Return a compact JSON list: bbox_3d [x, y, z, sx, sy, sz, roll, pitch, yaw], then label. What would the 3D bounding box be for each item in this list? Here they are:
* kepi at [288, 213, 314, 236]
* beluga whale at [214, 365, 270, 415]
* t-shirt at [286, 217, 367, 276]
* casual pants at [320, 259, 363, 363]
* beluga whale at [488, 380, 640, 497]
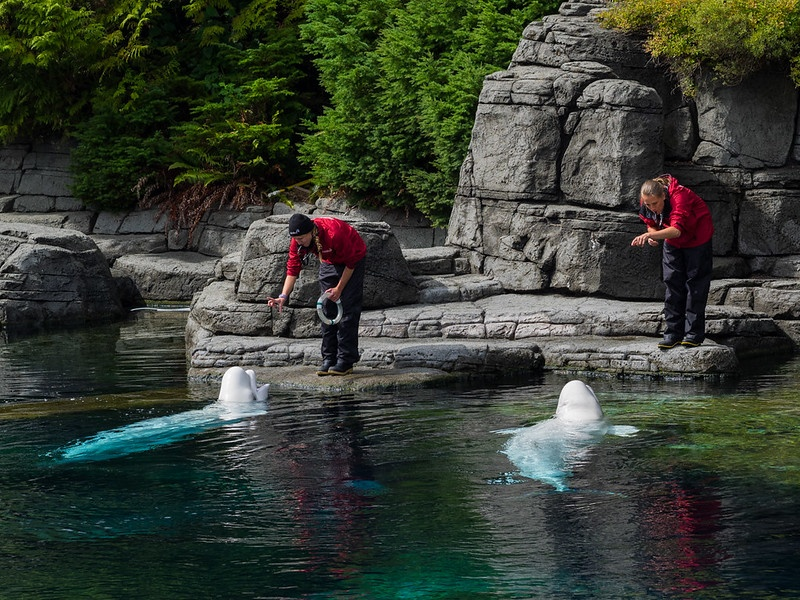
[{"bbox_3d":[-1.019,-0.772,12.093,0.255,0.239,0.246,0,1,1],"label":"kepi"},{"bbox_3d":[-1.640,0.930,12.214,0.531,0.412,0.779,0,1,-7],"label":"beluga whale"},{"bbox_3d":[-0.785,-0.639,12.545,0.719,0.601,0.807,-11,18,-41],"label":"t-shirt"},{"bbox_3d":[-0.593,0.189,12.726,0.511,1.103,0.487,7,16,-29],"label":"casual pants"},{"bbox_3d":[1.610,1.255,10.962,1.400,0.600,1.924,3,24,17],"label":"beluga whale"}]
